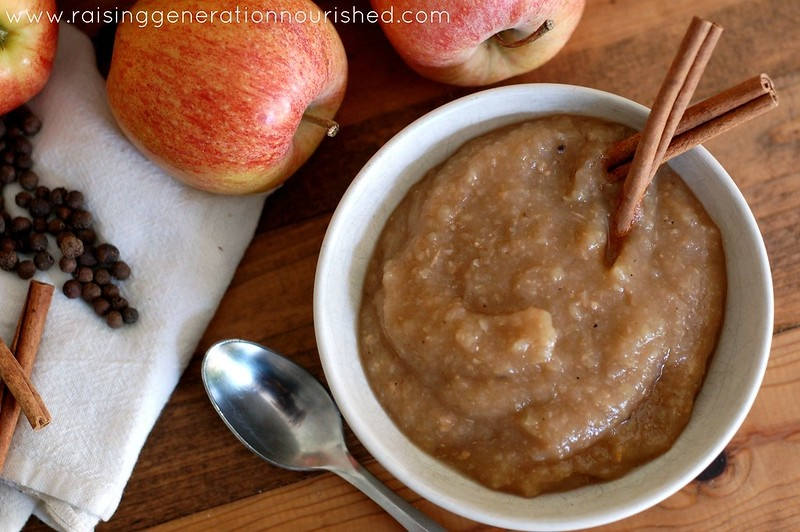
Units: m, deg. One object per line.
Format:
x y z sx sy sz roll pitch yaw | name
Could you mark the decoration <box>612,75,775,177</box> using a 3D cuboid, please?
0.837 -0.383 2.446 0.506 0.115 0.126 -29 70 19 | decoration
